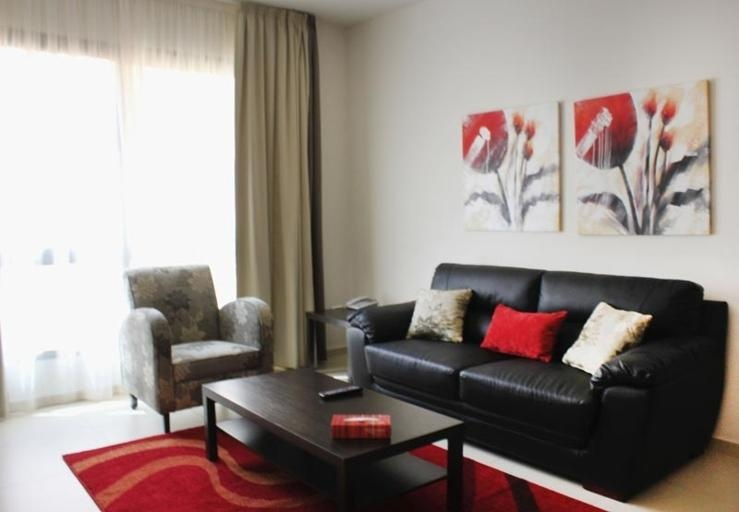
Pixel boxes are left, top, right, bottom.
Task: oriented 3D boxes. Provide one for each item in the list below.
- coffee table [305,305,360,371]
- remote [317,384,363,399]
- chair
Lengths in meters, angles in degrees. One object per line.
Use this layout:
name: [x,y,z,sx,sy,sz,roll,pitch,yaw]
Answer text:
coffee table: [-0.316,0.806,5.723,0.574,0.585,0.574,-6,12,-39]
remote: [-0.187,0.867,3.649,0.208,0.043,0.103,-5,7,-34]
chair: [-1.364,0.657,4.941,1.187,1.383,1.235,-3,2,-42]
